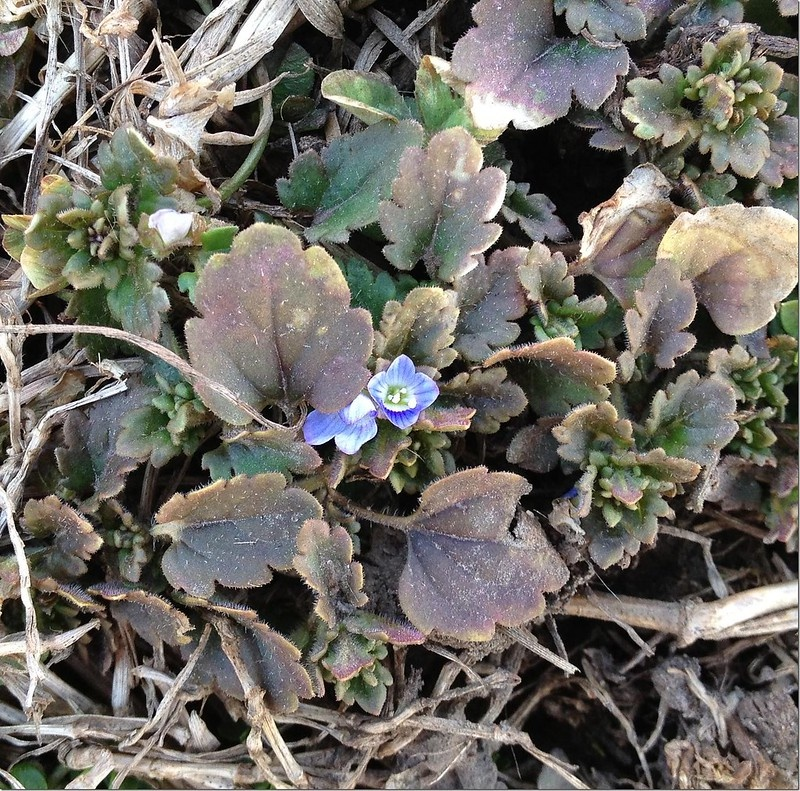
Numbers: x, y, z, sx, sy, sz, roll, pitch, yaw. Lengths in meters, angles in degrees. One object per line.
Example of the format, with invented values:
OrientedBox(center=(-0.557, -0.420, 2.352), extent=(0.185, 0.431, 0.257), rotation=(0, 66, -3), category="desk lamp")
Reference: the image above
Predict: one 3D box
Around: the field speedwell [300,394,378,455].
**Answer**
OrientedBox(center=(-0.107, 0.055, 1.930), extent=(0.117, 0.051, 0.118), rotation=(-38, 77, -16), category="field speedwell")

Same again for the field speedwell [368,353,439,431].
OrientedBox(center=(0.005, 0.000, 1.942), extent=(0.102, 0.100, 0.106), rotation=(43, 68, 16), category="field speedwell")
